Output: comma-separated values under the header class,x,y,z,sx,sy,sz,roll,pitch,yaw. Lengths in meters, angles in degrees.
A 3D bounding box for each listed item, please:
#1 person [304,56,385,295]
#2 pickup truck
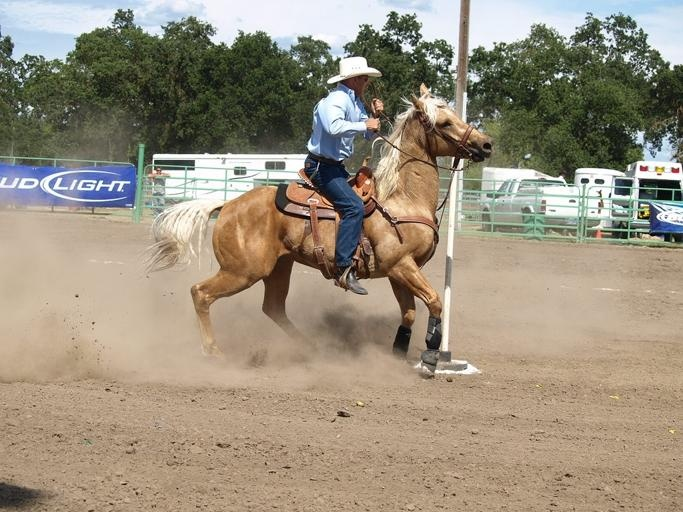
class,x,y,z,sx,sy,sz,roll,pitch,yaw
person,-0.004,-0.814,8.674,0.784,2.615,0.852,3,12,-6
pickup truck,5.993,-1.366,24.348,2.996,1.863,4.206,0,12,-17
